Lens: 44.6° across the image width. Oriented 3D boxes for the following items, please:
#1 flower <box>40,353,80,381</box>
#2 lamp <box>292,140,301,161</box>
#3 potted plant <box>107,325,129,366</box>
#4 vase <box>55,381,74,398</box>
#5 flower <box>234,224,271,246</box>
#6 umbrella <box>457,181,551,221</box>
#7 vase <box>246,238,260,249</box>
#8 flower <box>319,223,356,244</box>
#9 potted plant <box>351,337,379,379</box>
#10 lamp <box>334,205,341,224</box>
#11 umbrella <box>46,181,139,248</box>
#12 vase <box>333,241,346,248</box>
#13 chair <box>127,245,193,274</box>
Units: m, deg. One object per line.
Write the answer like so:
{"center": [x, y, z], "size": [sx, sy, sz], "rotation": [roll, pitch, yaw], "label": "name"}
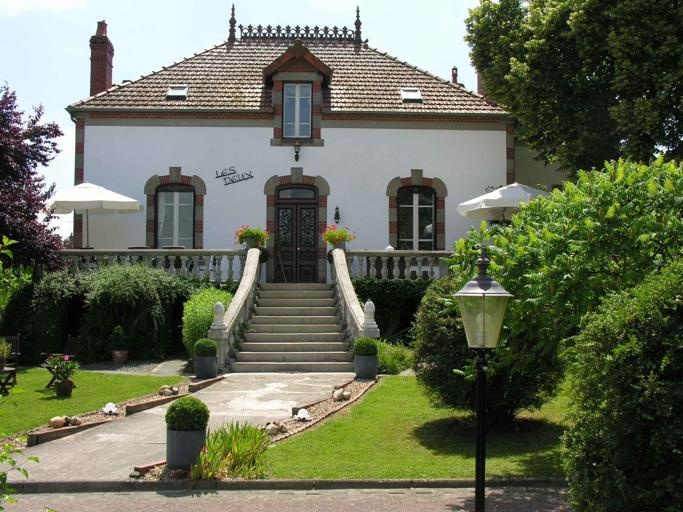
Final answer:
{"center": [-6.265, 2.452, 18.559], "size": [0.686, 0.733, 0.761], "rotation": [9, -5, -8], "label": "flower"}
{"center": [-1.497, -3.595, 28.124], "size": [0.249, 0.733, 0.128], "rotation": [1, -2, -5], "label": "lamp"}
{"center": [-5.855, 2.340, 22.061], "size": [0.447, 1.026, 0.524], "rotation": [1, -3, -20], "label": "potted plant"}
{"center": [-6.029, 2.895, 18.125], "size": [0.361, 0.357, 0.426], "rotation": [1, -3, -20], "label": "vase"}
{"center": [-2.752, -0.596, 25.477], "size": [0.849, 0.659, 0.697], "rotation": [-1, -3, 24], "label": "flower"}
{"center": [4.413, -1.537, 23.962], "size": [1.882, 0.814, 1.821], "rotation": [-4, -4, -35], "label": "umbrella"}
{"center": [-2.666, -0.386, 25.152], "size": [0.391, 0.325, 0.230], "rotation": [0, -3, -5], "label": "vase"}
{"center": [-0.166, -0.639, 25.606], "size": [0.716, 0.479, 0.813], "rotation": [0, 2, 8], "label": "flower"}
{"center": [0.586, 2.481, 19.959], "size": [0.748, 1.172, 0.793], "rotation": [0, -9, 1], "label": "potted plant"}
{"center": [-0.134, -1.396, 28.027], "size": [0.225, 0.618, 0.118], "rotation": [1, -2, -5], "label": "lamp"}
{"center": [-7.542, -1.226, 25.579], "size": [2.246, 1.830, 2.454], "rotation": [2, -2, -21], "label": "umbrella"}
{"center": [-0.060, -0.344, 25.447], "size": [0.361, 0.253, 0.439], "rotation": [1, -3, -5], "label": "vase"}
{"center": [-5.380, 0.021, 25.426], "size": [1.635, 0.835, 2.325], "rotation": [1, -3, -13], "label": "chair"}
